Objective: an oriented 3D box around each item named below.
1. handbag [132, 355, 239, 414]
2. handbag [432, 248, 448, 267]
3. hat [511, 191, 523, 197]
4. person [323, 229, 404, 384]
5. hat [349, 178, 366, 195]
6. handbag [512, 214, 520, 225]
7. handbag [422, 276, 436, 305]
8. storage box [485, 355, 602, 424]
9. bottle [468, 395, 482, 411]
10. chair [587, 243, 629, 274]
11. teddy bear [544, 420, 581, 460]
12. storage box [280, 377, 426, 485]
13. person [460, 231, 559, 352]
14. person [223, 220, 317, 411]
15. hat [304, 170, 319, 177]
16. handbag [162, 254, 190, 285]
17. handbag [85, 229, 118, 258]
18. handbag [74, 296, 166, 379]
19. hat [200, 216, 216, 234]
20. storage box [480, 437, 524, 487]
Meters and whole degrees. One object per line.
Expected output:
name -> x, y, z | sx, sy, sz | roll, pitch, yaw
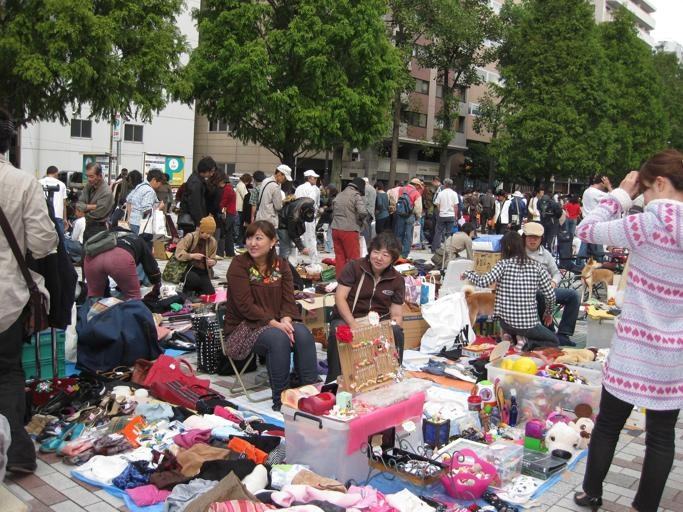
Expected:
handbag -> -1.551, 1.243, 5.580 | 0.606, 0.409, 0.908 | -6, 9, -43
handbag -> 1.924, 0.045, 10.889 | 0.183, 0.335, 0.258 | 13, 19, -13
hat -> 6.435, -2.265, 20.418 | 0.571, 0.197, 0.589 | 2, 10, 0
person -> 0.272, 0.484, 5.941 | 0.961, 1.478, 0.631 | -1, 7, -16
hat -> 0.300, -1.422, 11.194 | 0.261, 0.215, 0.357 | 17, 12, -20
handbag -> 6.162, -1.275, 19.745 | 0.244, 0.354, 0.111 | -2, 2, -9
handbag -> 1.294, 0.534, 8.324 | 0.156, 0.506, 0.356 | 2, 2, 30
storage box -> 1.850, 1.390, 5.720 | 1.392, 0.615, 1.011 | -1, -12, -17
bottle -> 1.250, 1.381, 5.285 | 0.123, 0.124, 0.126 | -2, 9, -8
chair -> 5.105, 0.077, 10.701 | 0.653, 0.673, 0.551 | 8, 1, 9
teddy bear -> 1.969, 1.672, 5.000 | 0.287, 0.313, 0.394 | -7, -11, 19
storage box -> 0.155, 1.406, 4.570 | 0.625, 0.529, 1.040 | 5, 6, 38
person -> 2.236, 0.434, 7.127 | 1.080, 1.483, 0.440 | 2, 7, 11
person -> -0.723, 0.711, 5.652 | 0.834, 1.595, 0.688 | -2, 7, -22
hat -> -0.771, -2.132, 14.505 | 0.338, 0.177, 0.248 | -3, 4, -9
handbag -> -2.576, 0.225, 8.712 | 0.370, 0.482, 0.196 | 23, -15, -1
handbag -> -2.935, -0.191, 6.894 | 0.336, 0.126, 0.349 | -17, 30, 25
handbag -> -2.550, 0.928, 6.333 | 0.682, 0.636, 0.906 | -3, -2, 33
hat -> -2.069, -0.479, 8.561 | 0.279, 0.294, 0.223 | -3, -14, -1
storage box -> 1.316, 1.690, 4.588 | 0.259, 0.201, 0.259 | -10, 14, -41
